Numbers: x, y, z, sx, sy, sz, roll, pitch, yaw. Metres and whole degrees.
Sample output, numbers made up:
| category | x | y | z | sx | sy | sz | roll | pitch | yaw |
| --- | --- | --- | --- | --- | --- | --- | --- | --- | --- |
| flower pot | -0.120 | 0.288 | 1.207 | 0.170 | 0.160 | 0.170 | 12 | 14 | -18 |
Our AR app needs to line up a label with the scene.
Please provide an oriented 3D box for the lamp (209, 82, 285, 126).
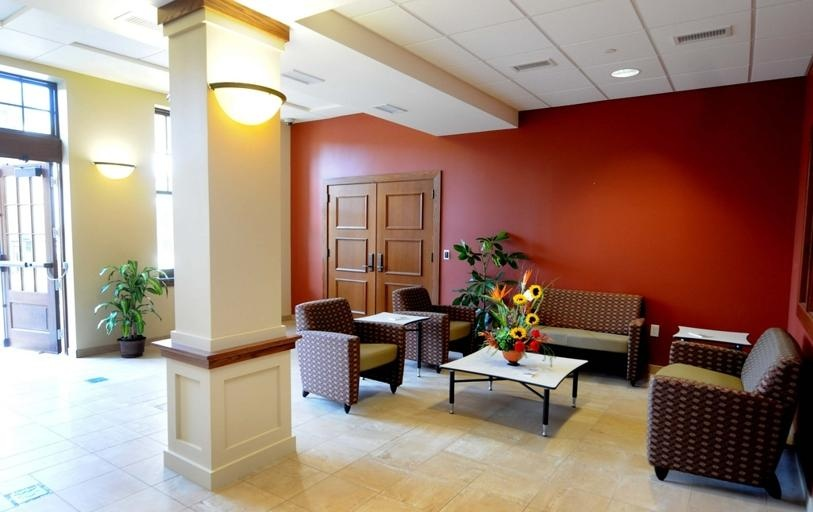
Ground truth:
| category | x | y | z | sx | sy | sz | roll | pitch | yaw |
| --- | --- | --- | --- | --- | --- | --- | --- | --- | --- |
| lamp | -1.445 | -1.417 | 4.783 | 0.593 | 0.354 | 0.349 | -6 | 6 | -44 |

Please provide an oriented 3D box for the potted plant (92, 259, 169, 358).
| category | x | y | z | sx | sy | sz | roll | pitch | yaw |
| --- | --- | --- | --- | --- | --- | --- | --- | --- | --- |
| potted plant | -4.106 | 0.786 | 7.710 | 0.948 | 1.423 | 0.594 | -5 | 6 | -33 |

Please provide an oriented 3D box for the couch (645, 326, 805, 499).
| category | x | y | z | sx | sy | sz | roll | pitch | yaw |
| --- | --- | --- | --- | --- | --- | --- | --- | --- | --- |
| couch | 3.173 | 1.528 | 5.122 | 1.173 | 1.391 | 1.360 | 1 | 5 | 36 |

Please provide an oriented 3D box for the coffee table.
| category | x | y | z | sx | sy | sz | roll | pitch | yaw |
| --- | --- | --- | --- | --- | --- | --- | --- | --- | --- |
| coffee table | 1.272 | 1.532 | 6.110 | 1.575 | 0.786 | 1.207 | -1 | 4 | 17 |

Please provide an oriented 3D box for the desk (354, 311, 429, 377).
| category | x | y | z | sx | sy | sz | roll | pitch | yaw |
| --- | --- | --- | --- | --- | --- | --- | --- | --- | --- |
| desk | -0.156 | 1.203 | 7.078 | 0.934 | 0.846 | 0.944 | 4 | 7 | 43 |

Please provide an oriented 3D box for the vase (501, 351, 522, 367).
| category | x | y | z | sx | sy | sz | roll | pitch | yaw |
| --- | --- | --- | --- | --- | --- | --- | --- | --- | --- |
| vase | 1.248 | 1.184 | 6.010 | 0.214 | 0.178 | 0.210 | -1 | 4 | 8 |
